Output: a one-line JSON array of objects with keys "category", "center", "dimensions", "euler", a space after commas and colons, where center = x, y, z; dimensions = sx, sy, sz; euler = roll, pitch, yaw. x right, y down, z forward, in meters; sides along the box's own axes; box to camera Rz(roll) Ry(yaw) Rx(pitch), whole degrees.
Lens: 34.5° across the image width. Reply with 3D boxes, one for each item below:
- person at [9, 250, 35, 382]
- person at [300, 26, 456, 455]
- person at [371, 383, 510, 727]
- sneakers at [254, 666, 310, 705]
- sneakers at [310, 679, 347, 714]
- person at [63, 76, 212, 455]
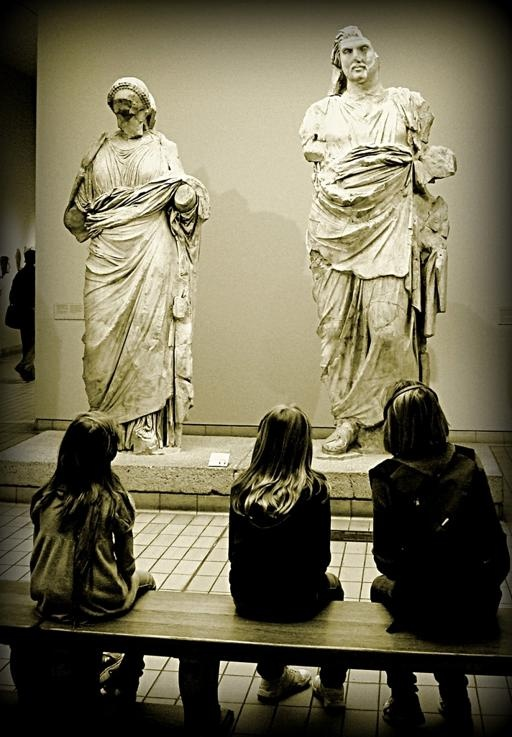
[{"category": "person", "center": [-1.789, -0.393, 6.366], "dimensions": [0.200, 1.034, 0.514], "euler": [0, 5, -16]}, {"category": "person", "center": [0.659, -0.707, 4.624], "dimensions": [0.843, 2.365, 0.341], "euler": [1, 4, 1]}, {"category": "person", "center": [0.508, 0.546, 2.372], "dimensions": [0.383, 0.986, 0.395], "euler": [2, 5, 7]}, {"category": "sneakers", "center": [0.091, 0.994, 2.633], "dimensions": [0.069, 0.087, 0.195], "euler": [2, 6, 44]}, {"category": "sneakers", "center": [0.224, 0.998, 2.519], "dimensions": [0.045, 0.058, 0.132], "euler": [2, 1, -6]}, {"category": "person", "center": [-0.698, -0.593, 4.854], "dimensions": [0.763, 2.135, 0.374], "euler": [3, 5, 20]}]
